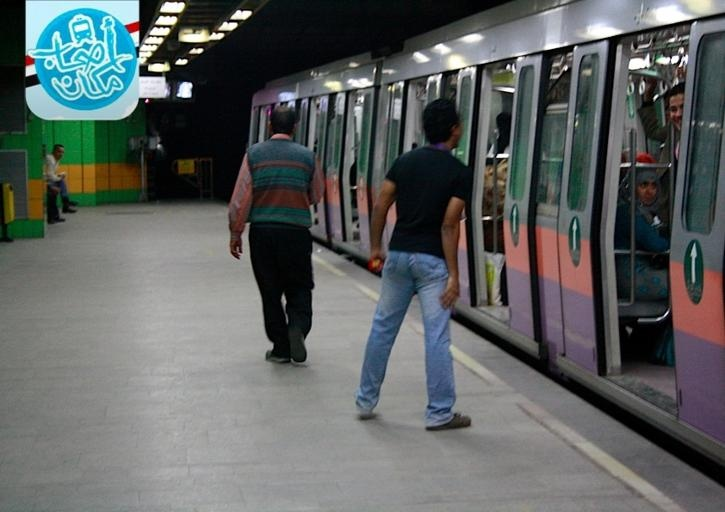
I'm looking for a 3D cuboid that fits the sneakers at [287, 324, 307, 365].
[{"bbox_3d":[-0.637,0.885,5.383,0.150,0.374,0.142,-3,9,-18],"label":"sneakers"}]

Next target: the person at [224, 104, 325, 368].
[{"bbox_3d":[-0.854,-0.184,5.559,0.931,2.624,0.418,-1,8,-6],"label":"person"}]

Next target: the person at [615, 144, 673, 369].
[{"bbox_3d":[2.787,0.041,5.464,0.571,1.910,0.950,4,9,24],"label":"person"}]

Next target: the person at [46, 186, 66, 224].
[{"bbox_3d":[-10.124,-1.739,18.175,0.482,1.239,2.446,-5,10,-28],"label":"person"}]

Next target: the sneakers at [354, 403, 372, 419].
[{"bbox_3d":[0.000,1.220,4.323,0.099,0.132,0.133,-1,-7,-1],"label":"sneakers"}]

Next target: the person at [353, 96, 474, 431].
[{"bbox_3d":[0.409,0.088,4.100,0.790,2.454,0.391,4,9,25],"label":"person"}]
